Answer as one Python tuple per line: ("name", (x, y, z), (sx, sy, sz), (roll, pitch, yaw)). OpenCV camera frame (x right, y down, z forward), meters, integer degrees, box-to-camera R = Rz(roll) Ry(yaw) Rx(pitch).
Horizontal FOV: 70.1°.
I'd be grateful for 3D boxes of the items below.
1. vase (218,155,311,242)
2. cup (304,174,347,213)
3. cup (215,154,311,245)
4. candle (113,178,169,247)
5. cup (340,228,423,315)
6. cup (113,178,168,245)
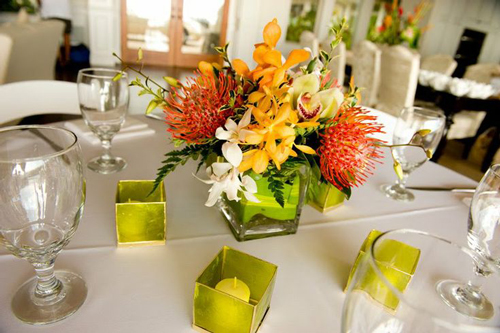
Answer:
("vase", (0.040, 0.099, 0.863), (0.164, 0.183, 0.161), (12, -23, -20))
("cup", (0.174, 0.062, 0.839), (0.045, 0.081, 0.045), (2, 48, -3))
("cup", (0.042, 0.040, 0.844), (0.192, 0.203, 0.194), (3, 32, -2))
("candle", (-0.235, 0.095, 0.811), (0.127, 0.126, 0.128), (0, 8, -12))
("cup", (0.205, 0.165, 0.551), (0.080, 0.142, 0.084), (-5, 54, 7))
("cup", (-0.234, 0.094, 0.807), (0.127, 0.126, 0.128), (1, 8, 0))
